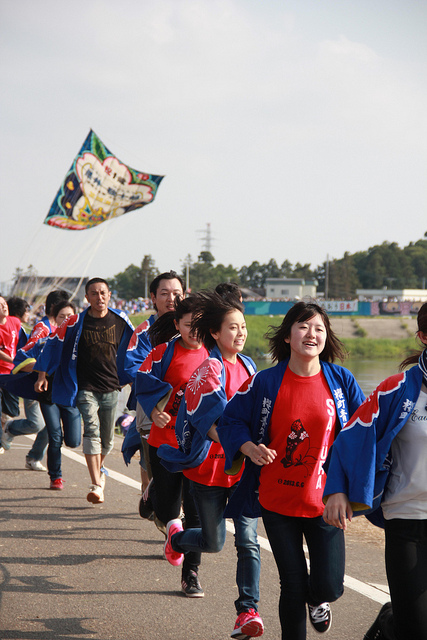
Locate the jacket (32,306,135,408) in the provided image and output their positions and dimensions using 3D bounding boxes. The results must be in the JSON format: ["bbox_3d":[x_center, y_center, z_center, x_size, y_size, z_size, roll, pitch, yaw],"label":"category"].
[{"bbox_3d":[-1.177,0.272,6.640,1.101,0.851,0.591,-6,16,-42],"label":"jacket"}]

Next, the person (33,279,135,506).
[{"bbox_3d":[-1.112,0.612,6.317,0.850,1.940,1.036,1,-2,-22],"label":"person"}]

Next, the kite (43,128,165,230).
[{"bbox_3d":[-2.175,-2.534,14.313,2.523,2.130,0.277,17,1,-43],"label":"kite"}]

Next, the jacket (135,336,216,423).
[{"bbox_3d":[-0.173,0.359,4.399,0.558,0.613,0.272,-6,28,-22],"label":"jacket"}]

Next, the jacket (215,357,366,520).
[{"bbox_3d":[0.387,0.512,3.143,0.725,0.714,0.441,3,-5,-10],"label":"jacket"}]

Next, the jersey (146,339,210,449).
[{"bbox_3d":[-0.255,0.434,4.331,0.327,0.622,0.240,10,9,-37],"label":"jersey"}]

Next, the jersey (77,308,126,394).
[{"bbox_3d":[-1.012,0.276,6.383,0.431,0.771,0.229,1,-2,-10],"label":"jersey"}]

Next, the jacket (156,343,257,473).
[{"bbox_3d":[-0.046,0.514,3.613,0.352,0.585,0.676,14,-13,2],"label":"jacket"}]
